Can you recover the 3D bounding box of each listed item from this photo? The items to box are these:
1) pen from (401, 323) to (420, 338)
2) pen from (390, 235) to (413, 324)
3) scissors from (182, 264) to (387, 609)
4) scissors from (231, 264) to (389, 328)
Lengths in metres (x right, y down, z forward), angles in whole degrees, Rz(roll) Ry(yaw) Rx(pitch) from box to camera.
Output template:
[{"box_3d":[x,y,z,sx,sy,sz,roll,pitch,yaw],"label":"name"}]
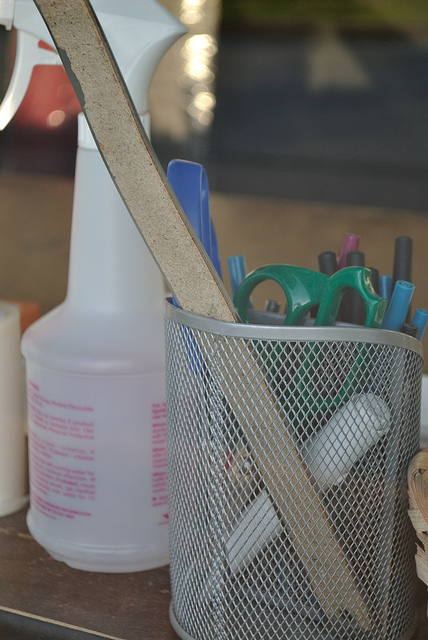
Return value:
[{"box_3d":[0.090,0.004,0.315,0.008,0.007,0.008,0,-25,20],"label":"pen"},{"box_3d":[0.102,-0.026,0.372,0.014,0.011,0.046,13,47,2],"label":"pen"},{"box_3d":[0.034,0.036,0.317,0.070,0.171,0.028,24,-2,1],"label":"scissors"},{"box_3d":[0.043,-0.013,0.298,0.056,0.033,0.054,0,11,-14],"label":"scissors"}]
